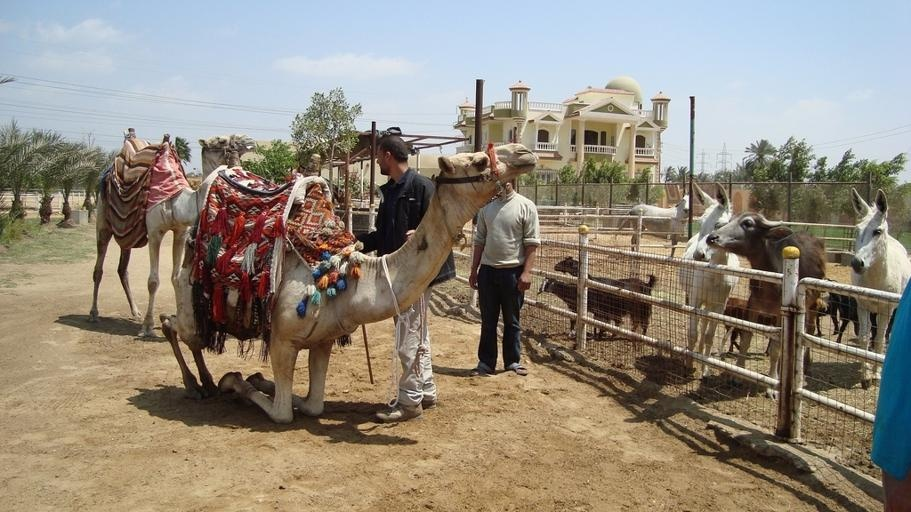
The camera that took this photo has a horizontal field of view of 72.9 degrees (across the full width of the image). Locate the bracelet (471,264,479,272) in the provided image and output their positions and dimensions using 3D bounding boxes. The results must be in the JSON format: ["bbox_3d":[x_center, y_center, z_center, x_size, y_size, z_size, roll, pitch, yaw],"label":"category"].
[{"bbox_3d":[0.348,0.214,10.523,0.115,0.109,0.116,2,4,21],"label":"bracelet"}]

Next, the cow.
[{"bbox_3d":[4.624,0.322,10.548,3.682,2.333,1.392,11,-13,-42],"label":"cow"}]

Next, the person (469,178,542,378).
[{"bbox_3d":[0.917,0.377,10.256,1.131,3.042,1.118,1,0,13],"label":"person"}]
